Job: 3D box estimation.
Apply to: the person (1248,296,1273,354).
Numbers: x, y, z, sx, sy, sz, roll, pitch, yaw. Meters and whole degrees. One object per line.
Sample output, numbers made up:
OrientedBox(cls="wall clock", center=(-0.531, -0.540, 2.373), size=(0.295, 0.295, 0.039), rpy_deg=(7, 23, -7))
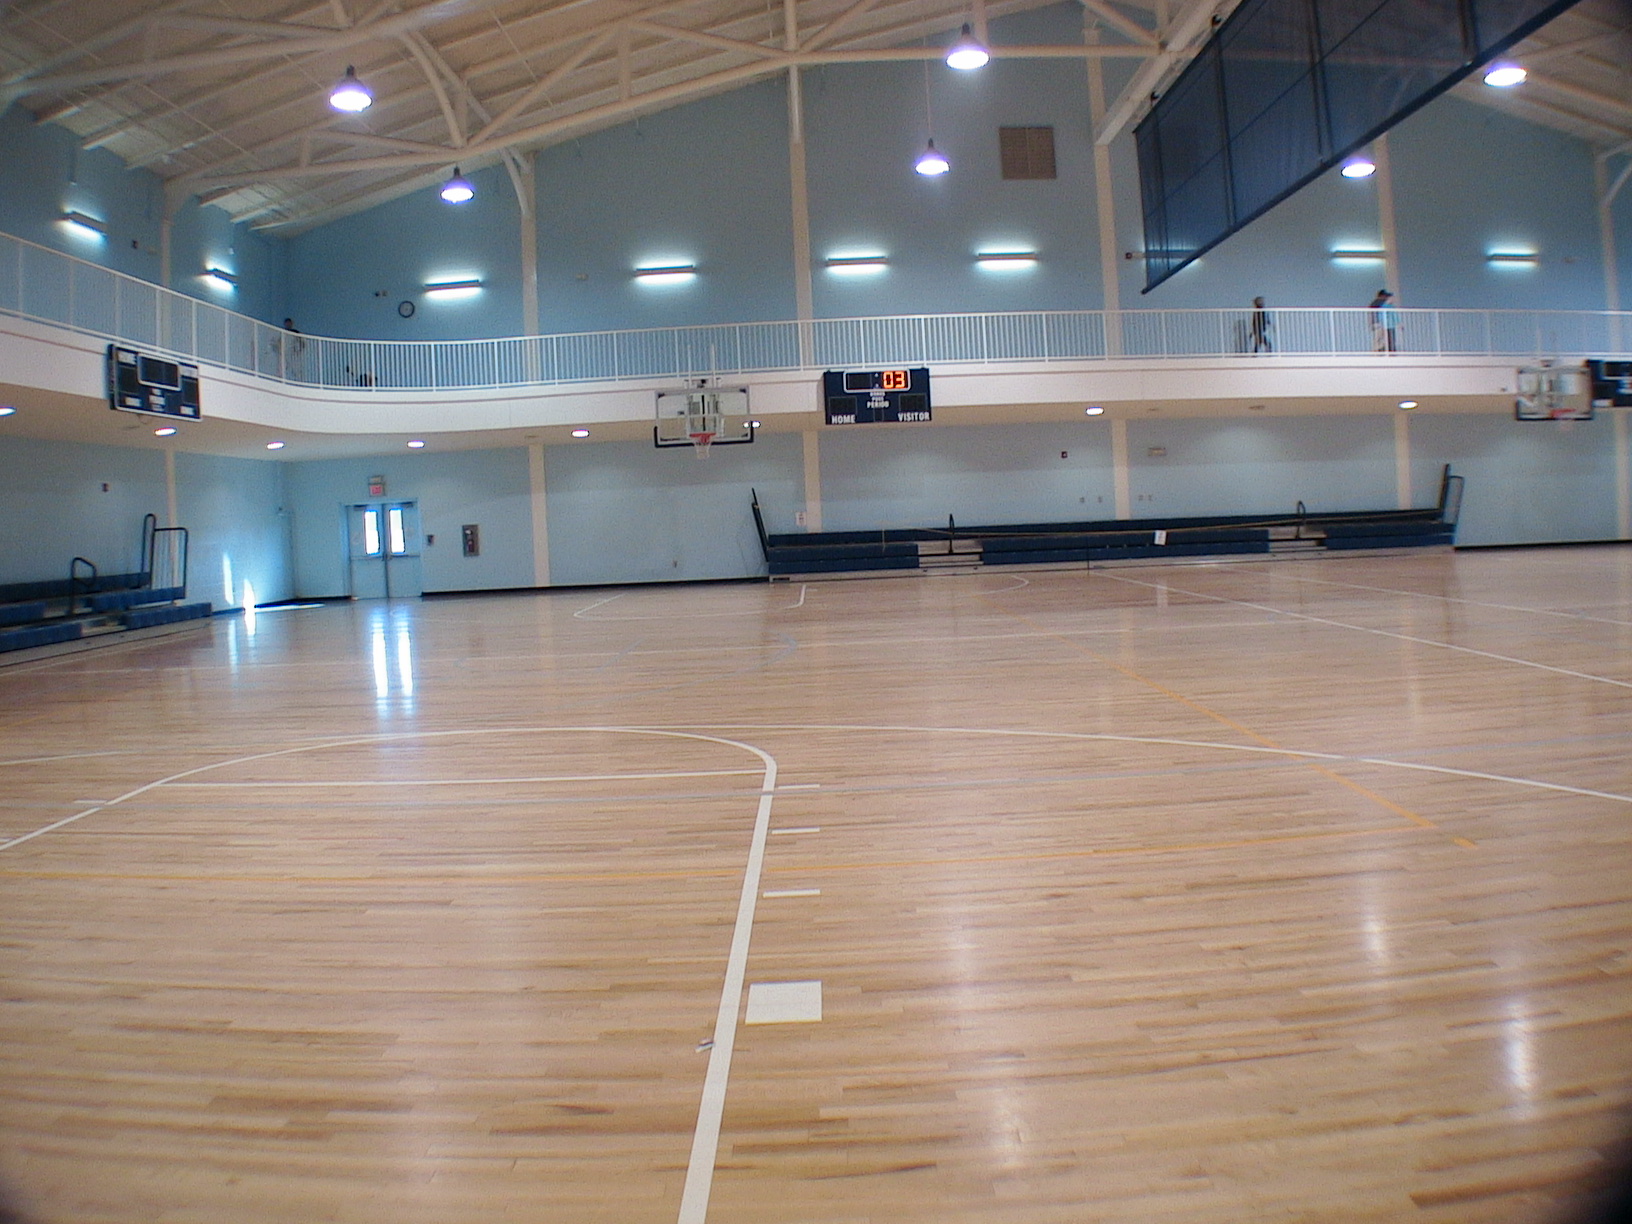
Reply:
OrientedBox(cls="person", center=(8.294, -5.439, 24.014), size=(0.339, 1.249, 1.647), rpy_deg=(0, 4, 19))

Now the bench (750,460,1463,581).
OrientedBox(cls="bench", center=(5.553, -1.413, 24.696), size=(13.284, 1.309, 0.940), rpy_deg=(-1, 4, -3))
